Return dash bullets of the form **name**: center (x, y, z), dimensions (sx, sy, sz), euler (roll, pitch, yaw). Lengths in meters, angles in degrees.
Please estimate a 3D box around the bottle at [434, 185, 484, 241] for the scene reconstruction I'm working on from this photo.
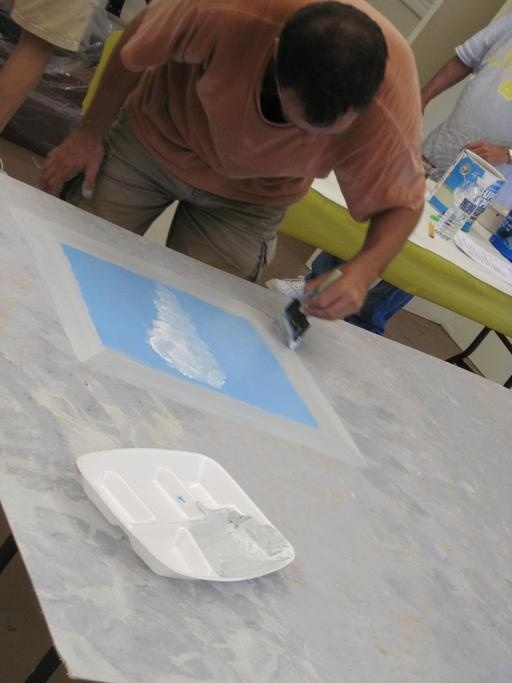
- **bottle**: center (0.709, -0.458, 2.101), dimensions (0.155, 0.201, 0.156), euler (0, 31, 0)

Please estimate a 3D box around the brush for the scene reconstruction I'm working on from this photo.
- **brush**: center (0.121, -0.109, 1.282), dimensions (0.074, 0.100, 0.240), euler (43, 49, -35)
